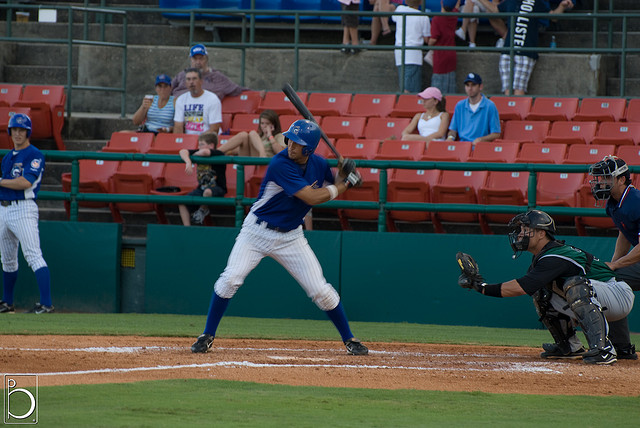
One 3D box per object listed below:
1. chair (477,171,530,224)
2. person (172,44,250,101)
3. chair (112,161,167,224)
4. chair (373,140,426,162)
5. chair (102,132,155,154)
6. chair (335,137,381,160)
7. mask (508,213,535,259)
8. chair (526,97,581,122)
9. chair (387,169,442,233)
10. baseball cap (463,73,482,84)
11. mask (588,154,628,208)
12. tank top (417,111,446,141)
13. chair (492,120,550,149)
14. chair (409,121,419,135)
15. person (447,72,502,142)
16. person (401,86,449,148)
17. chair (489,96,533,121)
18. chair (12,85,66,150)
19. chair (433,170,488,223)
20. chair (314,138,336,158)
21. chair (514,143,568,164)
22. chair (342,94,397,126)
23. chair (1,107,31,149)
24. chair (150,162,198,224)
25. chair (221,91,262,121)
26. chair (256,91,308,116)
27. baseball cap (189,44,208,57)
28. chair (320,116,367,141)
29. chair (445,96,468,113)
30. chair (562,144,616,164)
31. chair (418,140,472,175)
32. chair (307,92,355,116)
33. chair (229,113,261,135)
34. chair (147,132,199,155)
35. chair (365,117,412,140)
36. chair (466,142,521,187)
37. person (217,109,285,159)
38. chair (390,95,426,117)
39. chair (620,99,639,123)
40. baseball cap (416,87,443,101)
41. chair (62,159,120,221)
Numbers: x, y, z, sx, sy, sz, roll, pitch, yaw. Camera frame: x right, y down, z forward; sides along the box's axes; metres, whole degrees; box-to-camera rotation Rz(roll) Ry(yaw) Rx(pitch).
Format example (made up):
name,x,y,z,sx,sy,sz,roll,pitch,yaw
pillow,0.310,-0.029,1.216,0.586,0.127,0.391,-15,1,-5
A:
name,x,y,z,sx,sy,sz,roll,pitch,yaw
chair,2.815,-0.313,21.141,0.703,0.881,0.887,0,-5,8
person,-1.837,-2.442,24.249,1.372,1.039,0.432,-1,0,-15
chair,-2.853,-0.318,21.910,0.829,0.973,0.935,3,6,-7
chair,1.255,-1.023,22.056,0.545,0.338,0.506,0,-8,8
chair,-3.109,-1.169,22.796,0.554,0.395,0.489,0,-14,2
chair,0.600,-1.035,22.184,0.549,0.387,0.544,1,-22,2
mask,2.698,0.298,18.343,0.468,0.598,0.491,1,-6,19
chair,3.938,-1.662,23.496,0.578,0.341,0.571,9,25,17
chair,1.359,-0.216,21.358,0.821,1.031,1.029,0,9,7
baseball cap,2.506,-2.212,22.808,0.249,0.162,0.318,4,6,6
mask,3.945,-0.439,18.824,0.621,0.672,0.560,-1,-1,-24
tank top,1.845,-1.423,22.812,0.424,0.537,0.299,-4,-37,18
chair,3.390,-1.318,22.902,0.528,0.324,0.707,1,2,19
chair,1.567,-1.379,22.961,0.118,0.123,0.128,1,-5,-6
person,2.512,-1.723,22.673,0.860,1.102,0.569,6,7,21
person,1.757,-1.644,22.843,0.777,0.855,0.578,4,6,-2
chair,3.260,-1.796,23.673,0.510,0.447,0.485,3,-13,13
chair,-4.828,-1.621,23.902,0.964,1.079,0.906,7,15,27
chair,1.995,-0.305,21.328,0.712,0.872,0.944,4,-13,15
chair,0.081,-1.072,22.433,0.352,0.423,0.371,0,-4,11
chair,3.486,-0.956,21.932,0.767,0.318,0.816,5,6,12
chair,0.900,-1.868,24.093,0.659,0.574,0.603,3,-3,13
chair,-5.089,-1.440,23.222,0.495,0.687,0.780,3,6,-12
chair,-2.315,-0.399,21.880,0.799,1.001,0.976,0,-2,0
chair,-1.364,-1.928,24.197,0.822,0.520,0.488,0,0,12
chair,-0.672,-1.908,24.131,0.886,0.539,0.556,0,3,13
baseball cap,-2.039,-2.725,23.344,0.246,0.209,0.340,3,6,-11
chair,0.321,-1.446,23.252,0.778,0.360,0.576,6,0,32
chair,2.324,-1.894,23.814,0.413,0.255,0.295,0,-2,1
chair,4.226,-0.959,21.739,0.528,0.206,0.444,0,-5,9
chair,2.038,-0.924,22.121,0.638,0.372,0.602,1,-3,12
chair,0.143,-1.906,24.070,0.525,0.327,0.527,0,-10,9
chair,-1.272,-1.496,23.269,0.402,0.499,0.460,1,-8,-1
chair,-2.348,-1.212,22.297,0.624,0.381,0.449,0,-16,2
chair,1.081,-1.433,23.113,0.561,0.416,0.442,3,-4,-2
chair,2.786,-0.828,22.117,0.612,0.780,0.758,7,-7,17
person,-0.867,-1.207,21.512,0.604,0.769,1.343,-1,-2,41
chair,1.505,-1.859,23.742,0.433,0.519,0.468,1,-1,6
chair,5.301,-1.713,23.285,0.354,0.422,0.381,4,6,27
baseball cap,1.808,-1.963,22.841,0.339,0.157,0.208,3,0,-14
chair,-3.639,-0.383,22.011,0.861,0.999,0.913,3,6,-7
